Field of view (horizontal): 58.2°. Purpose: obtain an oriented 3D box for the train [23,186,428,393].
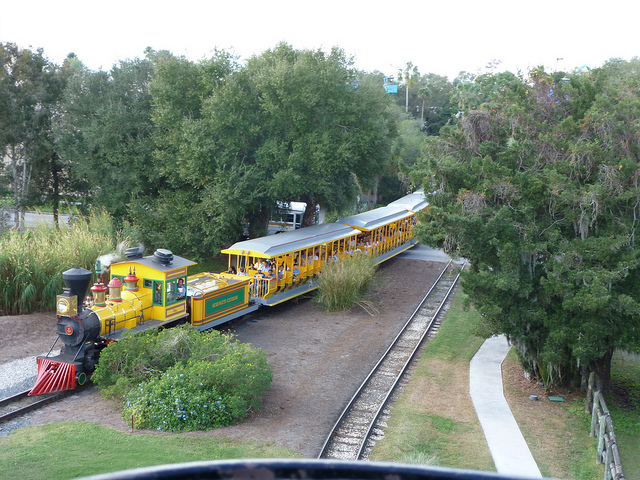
[{"bbox_3d":[-0.531,0.508,26.687,2.552,3.474,27.414,11,15,30],"label":"train"}]
